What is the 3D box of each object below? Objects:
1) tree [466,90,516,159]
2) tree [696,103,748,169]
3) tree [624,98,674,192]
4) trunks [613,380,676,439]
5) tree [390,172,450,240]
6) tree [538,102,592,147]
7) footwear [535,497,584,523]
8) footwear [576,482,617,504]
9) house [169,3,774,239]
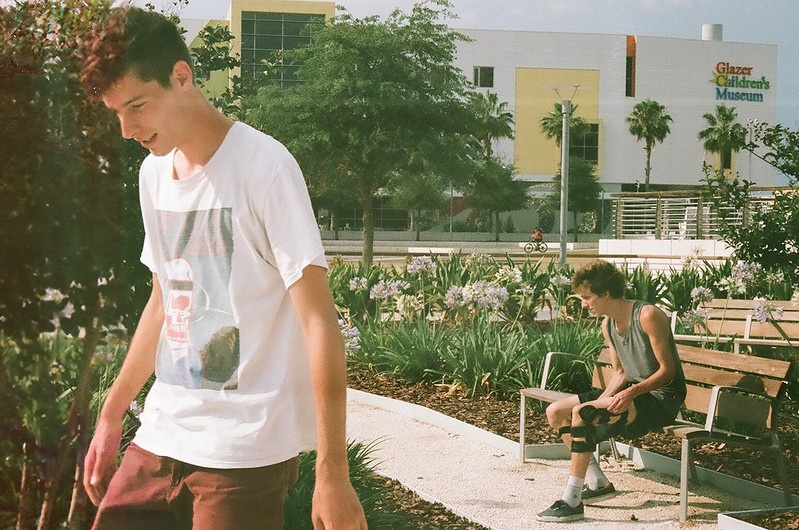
[{"bbox_3d":[6.073,-9.177,60.959,3.293,4.373,3.095,2,-2,-10],"label":"tree"},{"bbox_3d":[3.549,-1.357,9.891,0.455,0.703,0.460,0,20,14],"label":"tree"},{"bbox_3d":[19.873,-9.551,71.957,3.443,7.277,7.318,0,2,17],"label":"tree"},{"bbox_3d":[2.017,1.234,7.356,0.437,0.346,0.195,-17,-8,-3],"label":"trunks"},{"bbox_3d":[1.012,-3.024,49.144,3.377,3.823,2.998,0,-2,-8],"label":"tree"},{"bbox_3d":[12.675,-10.680,69.553,3.618,3.359,3.691,11,-4,-2],"label":"tree"},{"bbox_3d":[1.282,1.963,7.234,0.350,0.162,0.161,2,-8,-8],"label":"footwear"},{"bbox_3d":[1.632,1.888,7.496,0.316,0.135,0.130,-1,-9,-14],"label":"footwear"},{"bbox_3d":[3.688,-5.809,38.434,17.504,6.301,16.922,5,7,40],"label":"house"}]
